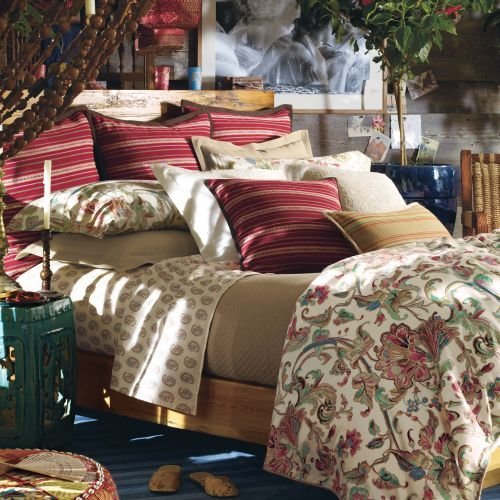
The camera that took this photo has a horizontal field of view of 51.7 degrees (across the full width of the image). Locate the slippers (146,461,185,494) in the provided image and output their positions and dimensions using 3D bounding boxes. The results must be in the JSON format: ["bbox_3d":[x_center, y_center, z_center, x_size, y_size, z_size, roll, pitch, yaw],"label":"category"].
[{"bbox_3d":[-0.254,0.682,1.538,0.095,0.032,0.122,2,1,-5],"label":"slippers"}]

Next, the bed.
[{"bbox_3d":[-0.145,0.171,2.442,2.053,0.949,1.664,0,29,-6],"label":"bed"}]
